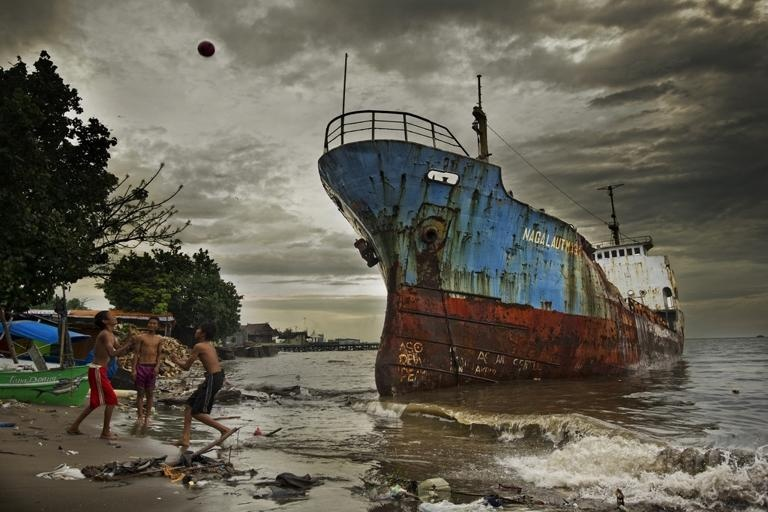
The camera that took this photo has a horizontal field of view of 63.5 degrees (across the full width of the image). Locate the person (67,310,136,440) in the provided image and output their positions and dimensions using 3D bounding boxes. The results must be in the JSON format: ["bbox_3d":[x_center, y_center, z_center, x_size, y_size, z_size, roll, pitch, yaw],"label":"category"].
[{"bbox_3d":[-6.154,2.535,13.360,0.819,2.670,1.089,8,-11,-36],"label":"person"}]

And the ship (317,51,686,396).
[{"bbox_3d":[6.345,-0.216,26.849,6.331,11.179,22.892,-8,-12,40],"label":"ship"}]
